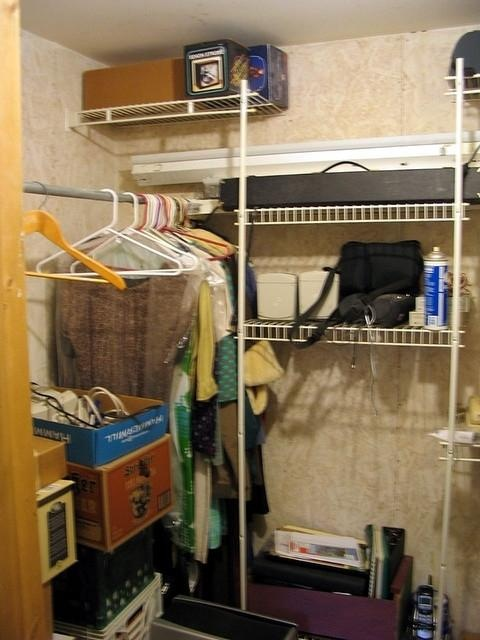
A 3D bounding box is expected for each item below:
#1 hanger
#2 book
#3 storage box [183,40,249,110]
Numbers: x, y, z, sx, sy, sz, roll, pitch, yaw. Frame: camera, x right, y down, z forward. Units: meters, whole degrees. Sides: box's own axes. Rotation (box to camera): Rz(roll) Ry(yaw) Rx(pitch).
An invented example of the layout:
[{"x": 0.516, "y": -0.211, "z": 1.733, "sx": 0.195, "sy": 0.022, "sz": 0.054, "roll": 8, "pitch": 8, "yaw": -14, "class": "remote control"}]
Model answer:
[{"x": -0.308, "y": -0.254, "z": 1.779, "sx": 0.396, "sy": 0.186, "sz": 0.524, "roll": 5, "pitch": 10, "yaw": 23, "class": "hanger"}, {"x": 0.334, "y": 0.853, "z": 2.230, "sx": 0.273, "sy": 0.128, "sz": 0.207, "roll": 0, "pitch": -4, "yaw": 30, "class": "book"}, {"x": -0.083, "y": -0.832, "z": 2.162, "sx": 0.199, "sy": 0.176, "sz": 0.204, "roll": -2, "pitch": -8, "yaw": 22, "class": "storage box"}]
